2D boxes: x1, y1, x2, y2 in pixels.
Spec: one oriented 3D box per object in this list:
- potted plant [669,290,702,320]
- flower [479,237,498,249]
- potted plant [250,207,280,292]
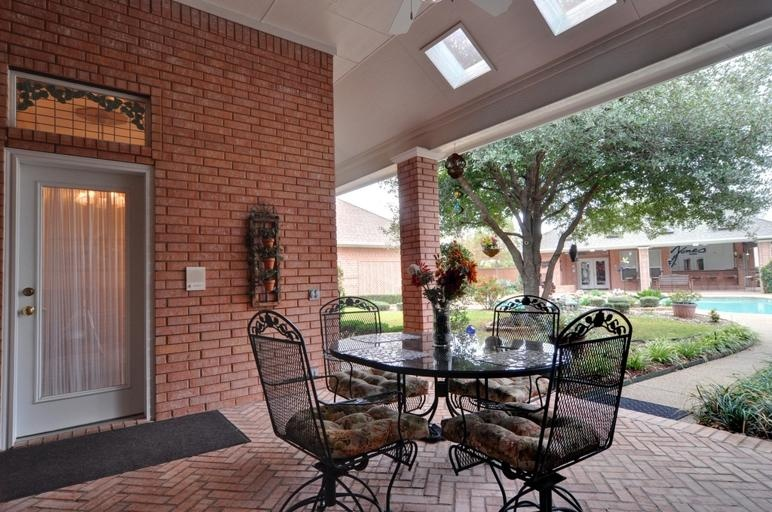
[{"bbox_3d":[7.683,1.226,12.114,0.864,0.651,0.681,1,-5,-5],"label":"potted plant"},{"bbox_3d":[1.858,-0.221,8.593,0.316,0.183,0.294,1,3,10],"label":"flower"},{"bbox_3d":[-1.510,-0.070,5.978,0.416,1.109,0.296,-3,8,-12],"label":"potted plant"}]
